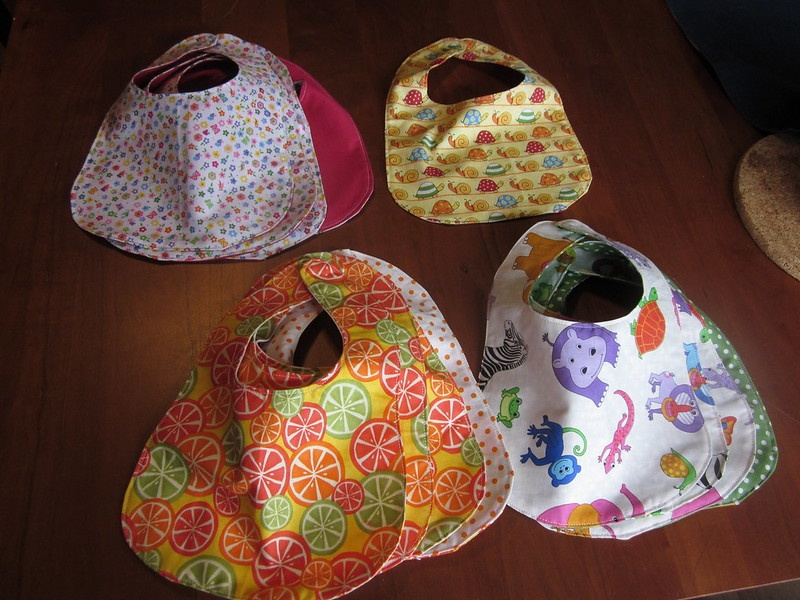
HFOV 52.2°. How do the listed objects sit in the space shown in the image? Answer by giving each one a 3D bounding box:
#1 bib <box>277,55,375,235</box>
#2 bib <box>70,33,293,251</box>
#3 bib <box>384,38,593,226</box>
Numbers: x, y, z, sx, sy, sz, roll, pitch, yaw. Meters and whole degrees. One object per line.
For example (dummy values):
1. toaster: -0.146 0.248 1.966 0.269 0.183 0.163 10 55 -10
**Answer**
1. bib: -0.171 -0.353 1.838 0.226 0.062 0.373 -24 84 -14
2. bib: -0.434 -0.259 1.681 0.414 0.120 0.467 -2 73 3
3. bib: 0.172 -0.391 1.813 0.430 0.110 0.484 -4 73 -8
